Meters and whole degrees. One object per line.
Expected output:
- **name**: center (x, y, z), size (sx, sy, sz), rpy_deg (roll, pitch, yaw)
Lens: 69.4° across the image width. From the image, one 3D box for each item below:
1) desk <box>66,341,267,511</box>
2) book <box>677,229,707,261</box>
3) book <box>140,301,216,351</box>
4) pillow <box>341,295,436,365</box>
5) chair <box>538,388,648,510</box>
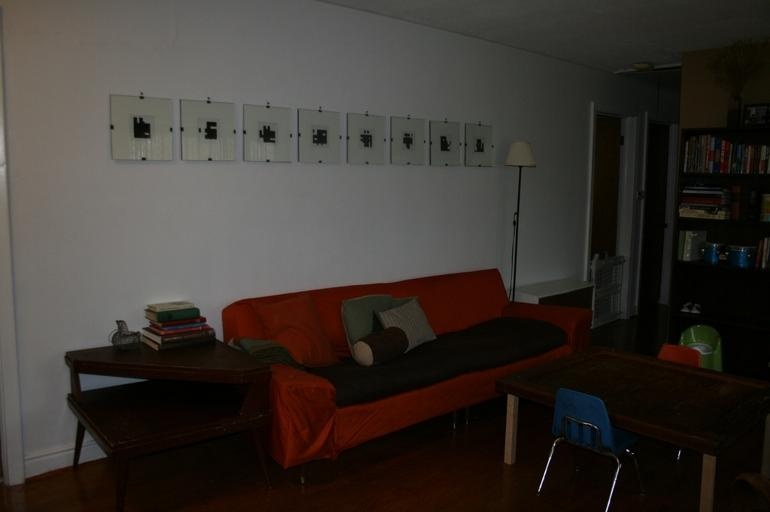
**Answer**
- **desk**: center (-1.571, 0.963, 3.936), size (1.320, 0.989, 1.092), rpy_deg (-4, 6, -40)
- **book**: center (3.282, -0.106, 5.942), size (0.314, 0.296, 0.107), rpy_deg (-4, 7, -36)
- **book**: center (-1.571, 0.460, 4.129), size (0.381, 0.236, 0.378), rpy_deg (-4, 9, -31)
- **pillow**: center (0.019, 0.613, 4.684), size (0.741, 0.519, 0.222), rpy_deg (-6, -19, -46)
- **chair**: center (1.434, 1.333, 3.781), size (0.596, 0.959, 0.691), rpy_deg (9, 17, 40)
